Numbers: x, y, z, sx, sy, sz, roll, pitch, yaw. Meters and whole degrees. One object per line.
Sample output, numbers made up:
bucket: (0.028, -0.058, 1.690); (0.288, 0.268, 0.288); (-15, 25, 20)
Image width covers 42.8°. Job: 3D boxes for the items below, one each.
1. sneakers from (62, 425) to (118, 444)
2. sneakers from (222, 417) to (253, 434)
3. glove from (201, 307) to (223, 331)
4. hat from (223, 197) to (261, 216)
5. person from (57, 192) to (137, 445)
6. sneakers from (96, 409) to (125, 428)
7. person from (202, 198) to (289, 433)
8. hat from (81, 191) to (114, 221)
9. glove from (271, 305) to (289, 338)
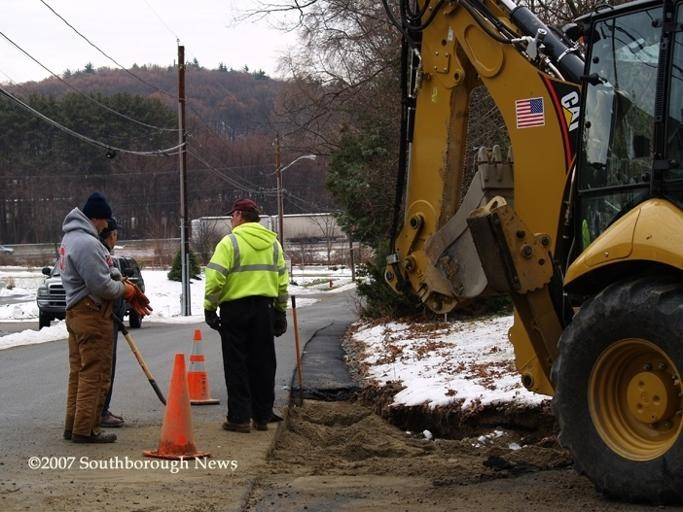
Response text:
sneakers: (-2.476, 1.810, 8.668); (0.538, 0.259, 0.193); (-2, -2, -13)
sneakers: (-1.119, 1.839, 9.377); (0.287, 0.162, 0.134); (8, 7, 17)
glove: (-1.428, 0.667, 9.612); (0.169, 0.215, 0.236); (-12, 41, -12)
hat: (-1.165, -0.600, 9.957); (0.349, 0.195, 0.257); (3, -2, 9)
person: (-2.511, 0.623, 8.927); (0.755, 2.529, 0.910); (-3, 4, -13)
sneakers: (-2.483, 1.804, 9.504); (0.216, 0.095, 0.146); (-2, 2, 6)
person: (-1.052, 0.643, 9.657); (0.597, 2.505, 1.004); (0, 5, 38)
hat: (-2.596, -0.530, 9.326); (0.324, 0.332, 0.279); (3, -2, 42)
glove: (-0.716, 0.772, 9.981); (0.204, 0.294, 0.253); (-3, 16, 1)
